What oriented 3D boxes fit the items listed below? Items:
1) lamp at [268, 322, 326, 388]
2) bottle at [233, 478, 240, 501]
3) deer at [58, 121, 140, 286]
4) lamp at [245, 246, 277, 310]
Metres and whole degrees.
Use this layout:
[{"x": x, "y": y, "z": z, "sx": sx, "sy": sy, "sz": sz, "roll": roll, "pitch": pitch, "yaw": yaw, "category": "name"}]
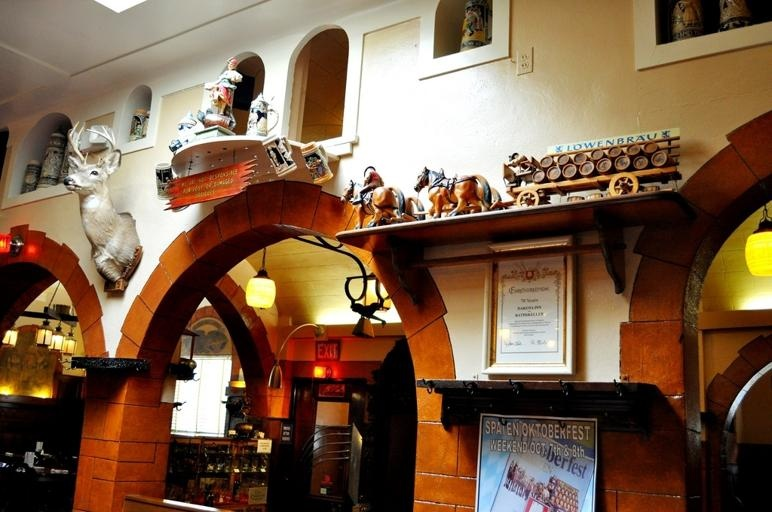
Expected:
[{"x": -1.571, "y": 1.803, "z": 10.856, "sx": 0.763, "sy": 1.123, "sz": 0.295, "roll": 11, "pitch": -51, "yaw": 1, "category": "lamp"}, {"x": -2.339, "y": 3.624, "z": 9.439, "sx": 0.102, "sy": 0.276, "sz": 0.108, "roll": 1, "pitch": -15, "yaw": 0, "category": "bottle"}, {"x": -3.647, "y": -0.593, "z": 7.857, "sx": 0.936, "sy": 2.018, "sz": 0.478, "roll": 13, "pitch": -20, "yaw": -37, "category": "deer"}, {"x": -1.849, "y": 0.315, "z": 9.004, "sx": 0.405, "sy": 0.923, "sz": 0.399, "roll": -22, "pitch": -33, "yaw": 40, "category": "lamp"}]
